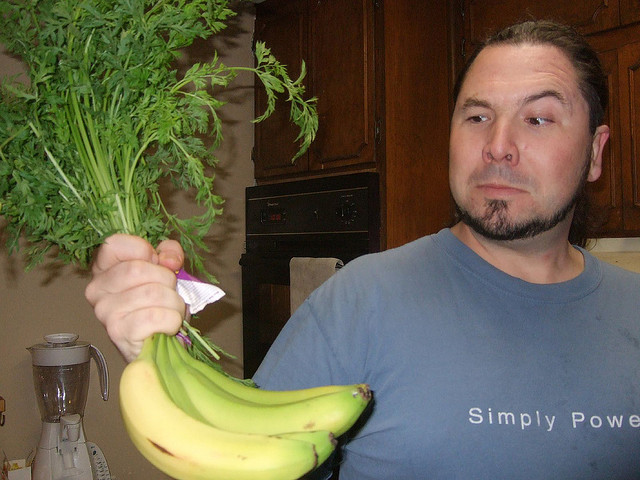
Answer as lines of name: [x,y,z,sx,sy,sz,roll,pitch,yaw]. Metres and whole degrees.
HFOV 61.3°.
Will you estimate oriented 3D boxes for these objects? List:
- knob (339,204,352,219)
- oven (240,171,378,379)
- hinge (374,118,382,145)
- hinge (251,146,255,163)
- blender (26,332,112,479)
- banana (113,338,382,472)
knob: [0.102,-0.111,2.144,0.013,0.050,0.052,-2,17,-40]
oven: [-0.001,0.187,2.586,0.601,0.885,0.588,1,3,20]
hinge: [0.233,-0.426,2.140,0.040,0.092,0.004,-5,-2,37]
hinge: [-0.344,-0.437,2.765,0.016,0.065,0.066,-2,5,-20]
blender: [-0.764,0.509,1.657,0.219,0.306,0.317,-4,-2,-23]
banana: [-0.096,0.199,0.735,0.289,0.163,0.179,9,5,8]
